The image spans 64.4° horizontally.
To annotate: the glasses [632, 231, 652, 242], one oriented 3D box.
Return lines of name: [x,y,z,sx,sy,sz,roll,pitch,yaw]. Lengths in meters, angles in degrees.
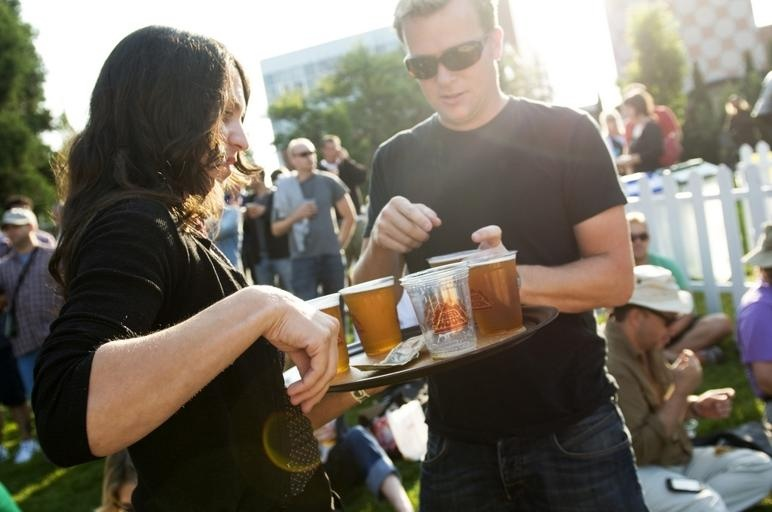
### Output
glasses: [2.487,-0.186,5.982,0.228,0.112,0.087,-15,9,-29]

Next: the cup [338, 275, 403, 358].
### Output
cup: [-0.036,0.222,2.573,0.282,0.320,0.288,-19,-3,-1]

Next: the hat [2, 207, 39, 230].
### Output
hat: [-4.147,-0.422,6.882,0.276,0.225,0.422,-13,8,-17]

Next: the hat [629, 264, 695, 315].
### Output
hat: [2.065,0.254,4.616,0.617,0.211,0.501,3,17,45]
